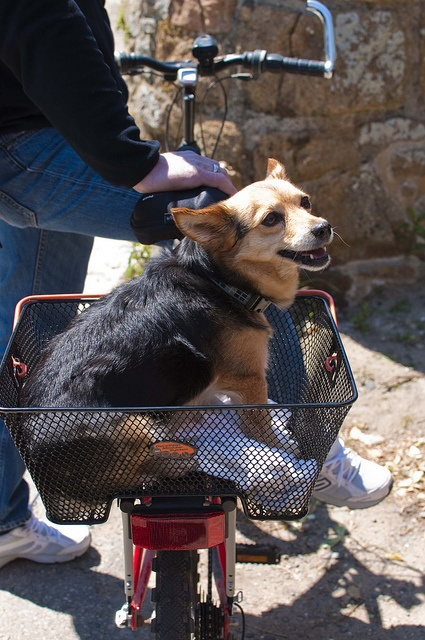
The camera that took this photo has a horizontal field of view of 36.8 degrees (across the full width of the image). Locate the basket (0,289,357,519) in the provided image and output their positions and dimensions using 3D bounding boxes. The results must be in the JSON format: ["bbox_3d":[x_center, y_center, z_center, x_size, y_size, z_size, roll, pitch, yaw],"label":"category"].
[{"bbox_3d":[-0.104,0.307,1.956,1.073,0.446,0.671,-1,32,2],"label":"basket"}]

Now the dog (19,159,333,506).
[{"bbox_3d":[-0.027,-0.053,2.233,1.259,0.870,0.639,-16,25,-12],"label":"dog"}]
